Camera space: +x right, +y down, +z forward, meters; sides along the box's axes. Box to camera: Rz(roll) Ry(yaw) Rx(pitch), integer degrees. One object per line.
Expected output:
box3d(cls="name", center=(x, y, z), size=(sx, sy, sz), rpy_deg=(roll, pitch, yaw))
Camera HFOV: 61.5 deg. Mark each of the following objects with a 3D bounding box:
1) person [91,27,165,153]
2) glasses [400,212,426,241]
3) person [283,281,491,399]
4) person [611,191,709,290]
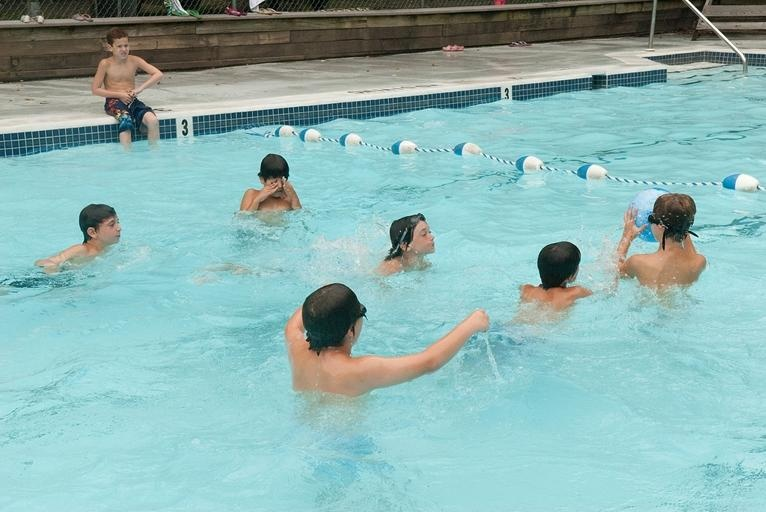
box3d(cls="person", center=(-3.097, -2.061, 7.812), size=(0.801, 1.455, 1.076), rpy_deg=(-9, 16, -14))
box3d(cls="glasses", center=(0.160, -0.200, 4.432), size=(0.064, 0.204, 0.163), rpy_deg=(50, 17, 19))
box3d(cls="person", center=(-0.028, 0.405, 3.212), size=(0.990, 0.563, 0.334), rpy_deg=(-2, 16, 2))
box3d(cls="person", center=(1.790, -0.085, 4.114), size=(0.543, 0.626, 0.266), rpy_deg=(-1, 17, 12))
